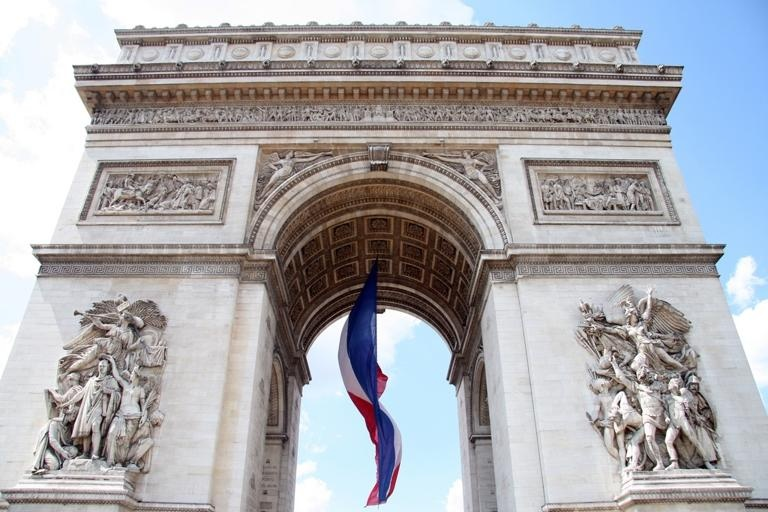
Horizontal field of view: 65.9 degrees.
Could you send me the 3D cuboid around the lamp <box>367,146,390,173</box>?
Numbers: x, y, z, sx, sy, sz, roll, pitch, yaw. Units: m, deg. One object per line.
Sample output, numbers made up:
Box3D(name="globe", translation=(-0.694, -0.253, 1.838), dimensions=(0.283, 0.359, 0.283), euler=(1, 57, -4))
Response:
Box3D(name="lamp", translation=(-0.115, -3.426, 21.058), dimensions=(1.009, 0.961, 0.794), euler=(0, -28, 1))
